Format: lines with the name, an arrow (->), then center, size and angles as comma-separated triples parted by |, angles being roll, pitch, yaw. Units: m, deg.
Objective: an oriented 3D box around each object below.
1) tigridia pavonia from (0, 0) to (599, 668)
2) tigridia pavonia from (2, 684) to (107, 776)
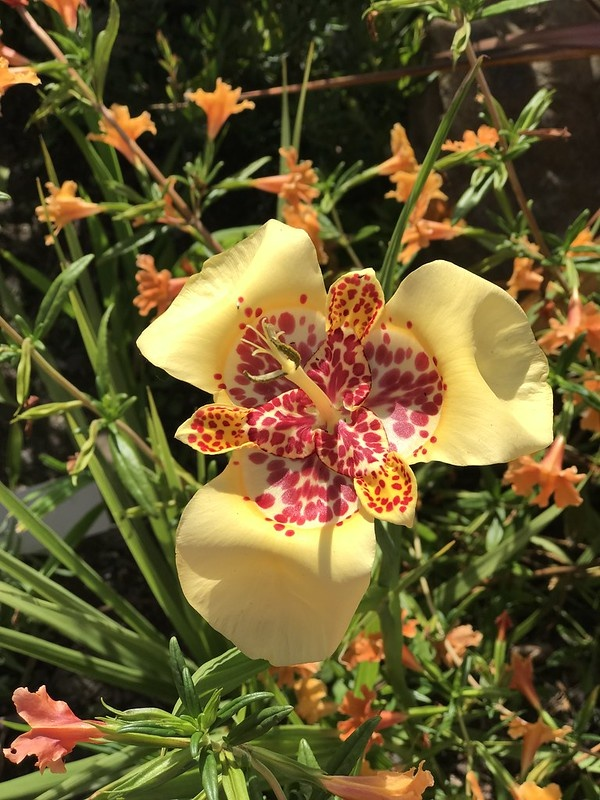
tigridia pavonia -> -0.014, 0.017, 0.939 | 0.505, 0.276, 0.521 | 40, 67, 15
tigridia pavonia -> -0.306, 0.440, 1.005 | 0.161, 0.062, 0.132 | 7, 107, -11
